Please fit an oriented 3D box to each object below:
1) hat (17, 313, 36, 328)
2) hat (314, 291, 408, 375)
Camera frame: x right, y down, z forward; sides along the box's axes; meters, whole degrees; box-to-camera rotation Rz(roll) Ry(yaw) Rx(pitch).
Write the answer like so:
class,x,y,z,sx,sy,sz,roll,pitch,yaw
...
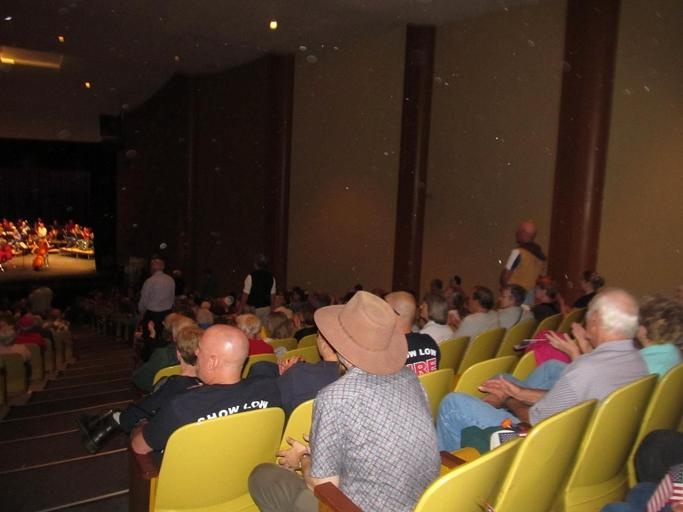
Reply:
class,x,y,z,sx,sy,sz,roll,pitch,yaw
hat,-3.978,0.818,6.678,0.195,0.176,0.284,-4,4,-33
hat,0.080,0.380,2.717,0.488,0.386,0.338,0,4,12
